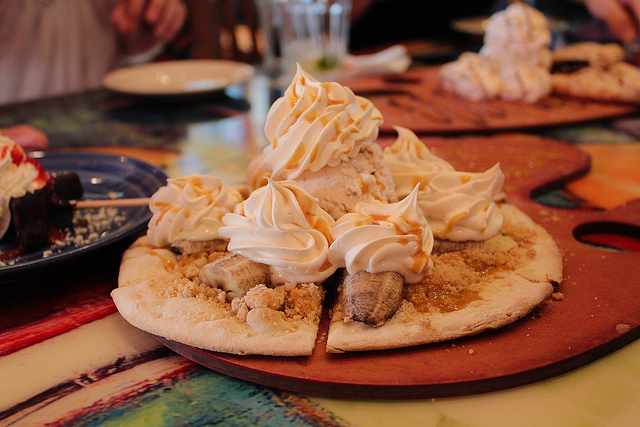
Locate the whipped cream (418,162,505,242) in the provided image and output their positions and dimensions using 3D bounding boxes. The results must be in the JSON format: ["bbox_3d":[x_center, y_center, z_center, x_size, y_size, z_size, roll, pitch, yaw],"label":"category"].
[{"bbox_3d":[0.571,-0.034,2.233,0.279,0.138,0.379,-4,25,-2],"label":"whipped cream"}]

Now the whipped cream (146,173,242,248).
[{"bbox_3d":[-0.518,-0.014,2.269,0.301,0.148,0.318,4,28,10],"label":"whipped cream"}]

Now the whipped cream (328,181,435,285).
[{"bbox_3d":[0.237,0.062,2.119,0.410,0.279,0.319,6,22,21],"label":"whipped cream"}]

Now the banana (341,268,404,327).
[{"bbox_3d":[0.186,0.299,2.010,0.219,0.122,0.208,4,53,5],"label":"banana"}]

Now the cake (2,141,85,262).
[{"bbox_3d":[-1.172,-0.047,2.349,0.347,0.167,0.463,-22,40,-40],"label":"cake"}]

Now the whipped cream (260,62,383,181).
[{"bbox_3d":[-0.008,-0.327,2.212,0.423,0.234,0.422,14,54,13],"label":"whipped cream"}]

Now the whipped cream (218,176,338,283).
[{"bbox_3d":[-0.180,0.064,2.143,0.425,0.231,0.327,13,33,27],"label":"whipped cream"}]

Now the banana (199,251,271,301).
[{"bbox_3d":[-0.309,0.217,2.059,0.194,0.075,0.181,20,30,32],"label":"banana"}]
